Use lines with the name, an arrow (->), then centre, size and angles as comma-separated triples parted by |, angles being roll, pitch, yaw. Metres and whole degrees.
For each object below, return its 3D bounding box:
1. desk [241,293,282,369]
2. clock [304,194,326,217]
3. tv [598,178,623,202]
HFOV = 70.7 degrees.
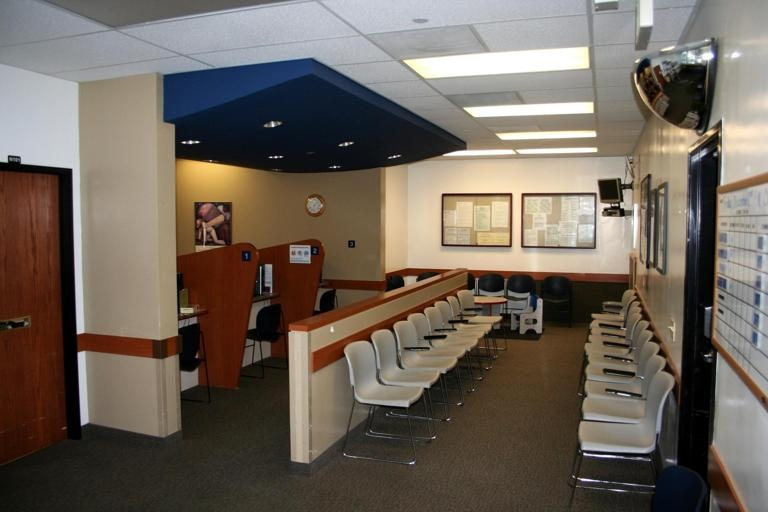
desk -> -1.797, 1.175, 7.697 | 0.497, 0.685, 0.488 | -10, 4, -29
clock -> -1.342, -0.978, 10.518 | 0.403, 0.409, 0.092 | 2, 1, 13
tv -> 3.838, -1.113, 9.165 | 0.164, 0.468, 0.460 | -12, 8, -24
